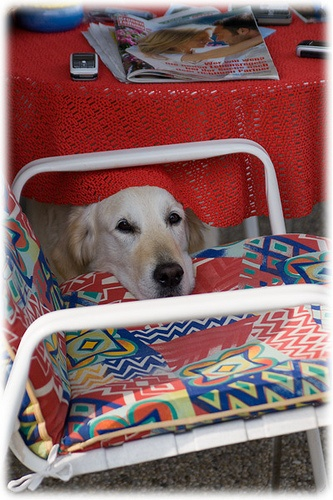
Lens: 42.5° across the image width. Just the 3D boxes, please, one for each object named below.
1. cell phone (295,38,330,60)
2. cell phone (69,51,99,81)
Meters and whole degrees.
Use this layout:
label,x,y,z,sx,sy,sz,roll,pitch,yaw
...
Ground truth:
label,x,y,z,sx,sy,sz,roll,pitch,yaw
cell phone,0.328,-0.450,0.961,0.068,0.017,0.039,8,43,15
cell phone,-0.167,-0.374,0.870,0.057,0.066,0.061,-9,10,-9
